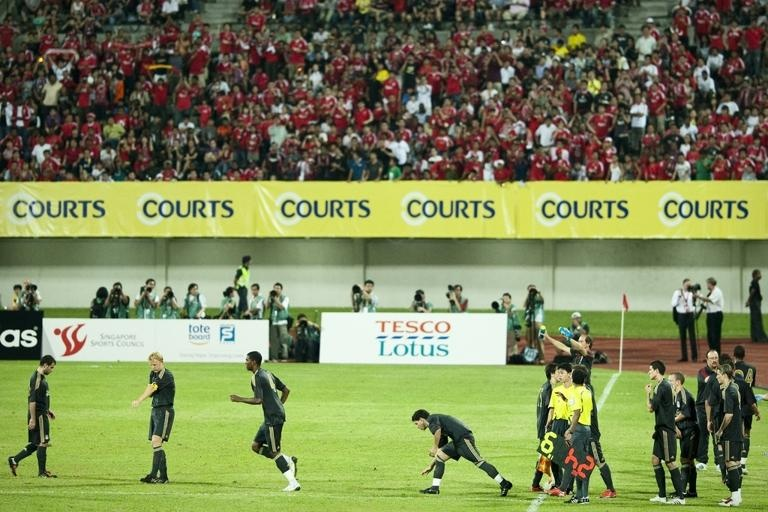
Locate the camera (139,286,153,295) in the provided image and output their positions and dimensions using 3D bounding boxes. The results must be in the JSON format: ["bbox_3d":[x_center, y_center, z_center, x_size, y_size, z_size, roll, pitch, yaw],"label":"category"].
[{"bbox_3d":[-9.713,1.397,65.026,0.343,0.273,0.545,-5,13,-30],"label":"camera"}]

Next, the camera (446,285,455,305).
[{"bbox_3d":[2.696,1.680,64.916,0.508,0.623,0.251,-2,-34,4],"label":"camera"}]

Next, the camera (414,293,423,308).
[{"bbox_3d":[1.350,1.747,64.414,0.364,0.586,0.392,-1,-5,3],"label":"camera"}]

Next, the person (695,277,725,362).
[{"bbox_3d":[13.260,2.361,63.965,1.200,4.516,0.974,-2,-3,2],"label":"person"}]

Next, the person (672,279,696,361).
[{"bbox_3d":[12.092,2.565,63.998,0.551,3.378,0.957,3,-3,-10],"label":"person"}]

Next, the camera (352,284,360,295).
[{"bbox_3d":[-1.182,1.373,65.004,0.239,0.421,0.376,0,-9,-1],"label":"camera"}]

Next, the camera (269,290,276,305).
[{"bbox_3d":[-4.508,1.674,63.944,0.290,0.563,0.582,1,-6,-15],"label":"camera"}]

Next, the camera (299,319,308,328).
[{"bbox_3d":[-3.324,2.738,64.806,0.254,0.303,0.275,9,13,32],"label":"camera"}]

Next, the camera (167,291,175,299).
[{"bbox_3d":[-8.834,1.616,65.480,0.246,0.152,0.505,14,-4,-4],"label":"camera"}]
